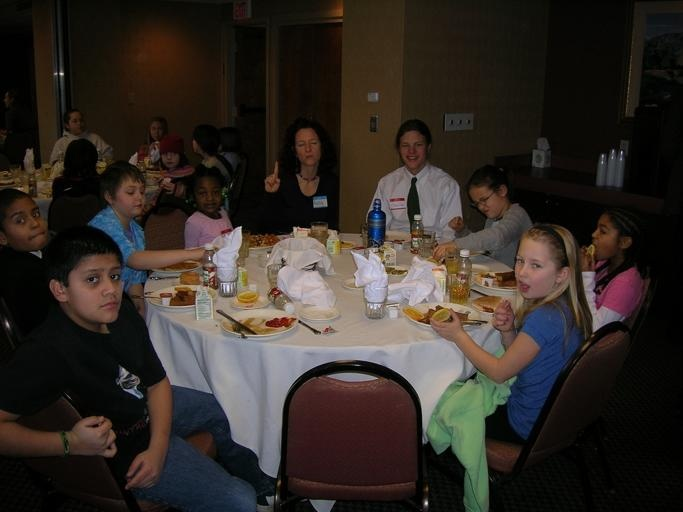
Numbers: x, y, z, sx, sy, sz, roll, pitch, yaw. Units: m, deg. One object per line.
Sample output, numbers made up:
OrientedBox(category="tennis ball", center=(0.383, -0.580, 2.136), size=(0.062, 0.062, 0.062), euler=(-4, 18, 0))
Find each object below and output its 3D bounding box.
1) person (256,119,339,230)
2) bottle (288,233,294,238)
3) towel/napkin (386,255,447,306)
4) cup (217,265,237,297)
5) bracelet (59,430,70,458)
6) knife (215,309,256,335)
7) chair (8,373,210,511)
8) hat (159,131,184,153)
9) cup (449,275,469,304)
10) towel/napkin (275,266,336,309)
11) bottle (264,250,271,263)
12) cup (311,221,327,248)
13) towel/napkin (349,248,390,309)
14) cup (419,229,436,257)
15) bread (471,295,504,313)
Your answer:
OrientedBox(category="person", center=(-0.283, -0.665, 4.083), size=(0.503, 0.886, 0.479), euler=(0, 15, 2))
OrientedBox(category="bottle", center=(-0.344, -0.152, 3.491), size=(0.043, 0.022, 0.061), euler=(0, 18, 1))
OrientedBox(category="towel/napkin", center=(0.377, 0.100, 2.516), size=(0.223, 0.089, 0.228), euler=(-13, 20, -39))
OrientedBox(category="cup", center=(-0.576, 0.126, 2.540), size=(0.125, 0.167, 0.100), euler=(-3, 9, -20))
OrientedBox(category="bracelet", center=(-0.853, 0.583, 1.557), size=(0.020, 0.057, 0.049), euler=(-10, -11, -3))
OrientedBox(category="knife", center=(-0.463, 0.293, 2.223), size=(0.068, 0.028, 0.514), euler=(0, 12, -27))
OrientedBox(category="chair", center=(-0.761, 0.618, 1.956), size=(0.442, 0.601, 0.416), euler=(-6, 11, -21))
OrientedBox(category="hat", center=(-1.913, -1.289, 5.736), size=(0.255, 0.214, 0.248), euler=(-11, 18, -30))
OrientedBox(category="cup", center=(0.599, 0.170, 2.535), size=(0.087, 0.156, 0.148), euler=(0, 4, 8))
OrientedBox(category="towel/napkin", center=(-0.175, 0.151, 2.476), size=(0.238, 0.081, 0.184), euler=(10, 21, 17))
OrientedBox(category="bottle", center=(-0.435, 0.003, 3.005), size=(0.029, 0.086, 0.058), euler=(15, -16, -41))
OrientedBox(category="cup", center=(-0.147, -0.153, 3.369), size=(0.128, 0.149, 0.134), euler=(1, 1, 0))
OrientedBox(category="towel/napkin", center=(0.141, 0.121, 2.457), size=(0.190, 0.325, 0.174), euler=(-11, 20, -20))
OrientedBox(category="cup", center=(0.556, -0.086, 3.317), size=(0.126, 0.217, 0.135), euler=(0, 12, 0))
OrientedBox(category="bread", center=(0.702, 0.228, 2.441), size=(0.085, 0.031, 0.087), euler=(-8, 17, -24))
